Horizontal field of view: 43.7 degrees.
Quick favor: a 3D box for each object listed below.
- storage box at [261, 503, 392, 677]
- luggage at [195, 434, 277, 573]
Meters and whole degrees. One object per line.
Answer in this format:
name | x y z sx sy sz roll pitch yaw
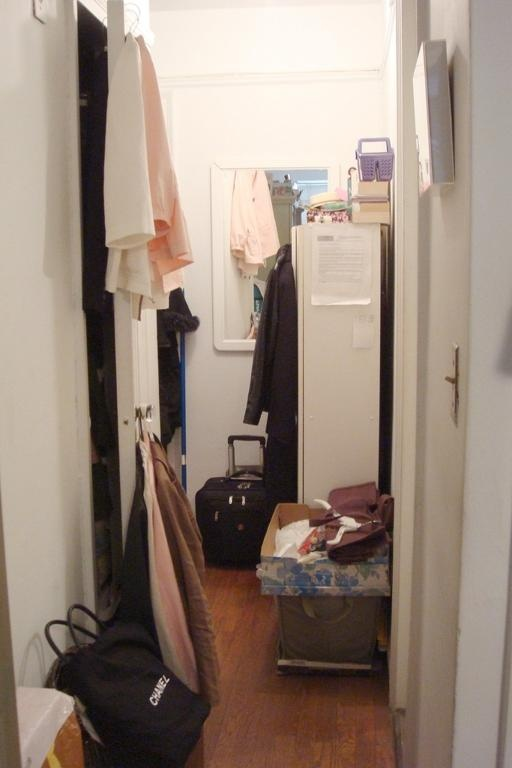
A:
storage box | 0.263 0.718 2.361 0.372 0.424 0.583 -1 7 9
luggage | -0.110 0.590 3.255 0.354 0.634 0.457 0 3 3
